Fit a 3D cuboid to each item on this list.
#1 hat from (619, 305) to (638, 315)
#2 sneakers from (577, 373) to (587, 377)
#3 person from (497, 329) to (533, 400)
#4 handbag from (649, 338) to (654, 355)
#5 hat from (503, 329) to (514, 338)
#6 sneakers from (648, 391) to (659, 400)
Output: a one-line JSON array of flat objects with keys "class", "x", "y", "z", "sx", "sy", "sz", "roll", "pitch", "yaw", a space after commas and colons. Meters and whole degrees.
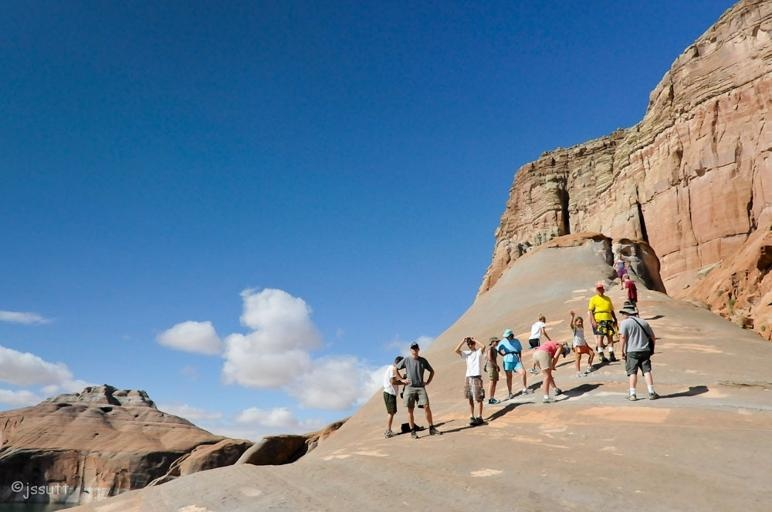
[{"class": "hat", "x": 6.969, "y": 1.546, "z": 14.167, "sx": 0.398, "sy": 0.187, "sz": 0.454, "roll": -3, "pitch": -3, "yaw": 29}, {"class": "sneakers", "x": 6.253, "y": 3.788, "z": 15.800, "sx": 0.286, "sy": 0.108, "sz": 0.185, "roll": -4, "pitch": 10, "yaw": 2}, {"class": "person", "x": 4.082, "y": 3.517, "z": 15.973, "sx": 0.978, "sy": 2.466, "sz": 1.384, "roll": -2, "pitch": 12, "yaw": 14}, {"class": "handbag", "x": 7.114, "y": 2.422, "z": 13.276, "sx": 0.102, "sy": 0.383, "sz": 0.199, "roll": 0, "pitch": 13, "yaw": 23}, {"class": "hat", "x": 3.911, "y": 2.475, "z": 15.833, "sx": 0.525, "sy": 0.221, "sz": 0.636, "roll": -5, "pitch": -11, "yaw": 7}, {"class": "sneakers", "x": 7.205, "y": 3.732, "z": 13.311, "sx": 0.253, "sy": 0.208, "sz": 0.313, "roll": 1, "pitch": 12, "yaw": 27}]
